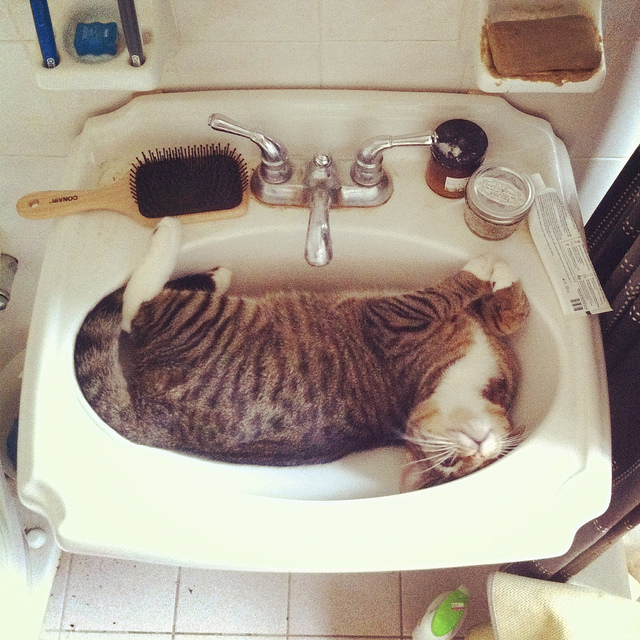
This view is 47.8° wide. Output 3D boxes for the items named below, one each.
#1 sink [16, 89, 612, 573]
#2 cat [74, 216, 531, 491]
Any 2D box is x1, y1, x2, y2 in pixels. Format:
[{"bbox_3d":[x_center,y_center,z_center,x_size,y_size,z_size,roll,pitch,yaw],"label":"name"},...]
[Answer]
[{"bbox_3d":[-0.001,-0.003,0.840,0.656,0.190,0.536,2,60,1],"label":"sink"},{"bbox_3d":[-0.019,0.011,0.912,0.546,0.227,0.354,6,80,-13],"label":"cat"}]
